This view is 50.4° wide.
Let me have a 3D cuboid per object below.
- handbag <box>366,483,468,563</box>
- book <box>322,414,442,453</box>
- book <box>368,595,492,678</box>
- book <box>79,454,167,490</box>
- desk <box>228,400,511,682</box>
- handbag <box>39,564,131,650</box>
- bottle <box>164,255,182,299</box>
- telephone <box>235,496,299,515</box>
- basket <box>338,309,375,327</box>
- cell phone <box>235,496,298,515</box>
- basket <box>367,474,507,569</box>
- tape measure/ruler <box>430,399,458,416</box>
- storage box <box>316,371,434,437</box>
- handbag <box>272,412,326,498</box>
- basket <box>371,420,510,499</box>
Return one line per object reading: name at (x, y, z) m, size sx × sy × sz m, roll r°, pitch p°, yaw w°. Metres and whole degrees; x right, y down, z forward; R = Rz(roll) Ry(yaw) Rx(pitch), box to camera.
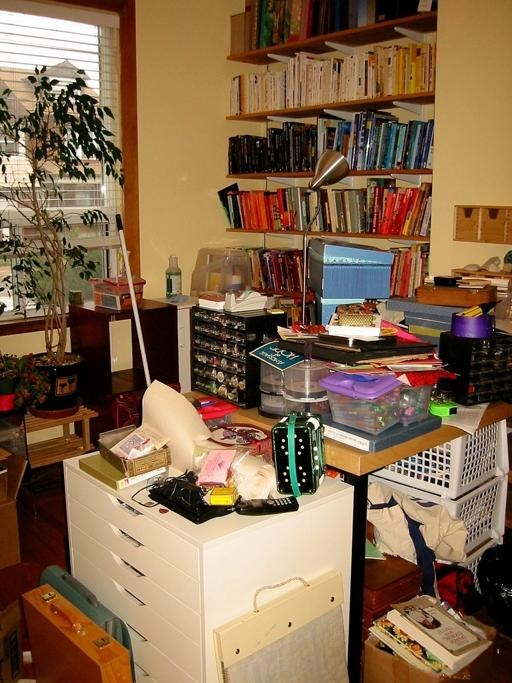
handbag at (0.464, 0.528, 1.552) m, size 0.269 × 0.203 × 0.081 m, roll 19°, pitch 14°, yaw 7°
book at (0.308, 0.218, 1.293) m, size 0.136 × 0.023 × 0.128 m, roll 11°, pitch 20°, yaw 37°
book at (0.413, 0.691, 1.288) m, size 0.149 × 0.043 × 0.154 m, roll 18°, pitch 23°, yaw 42°
book at (-0.282, 0.281, 1.173) m, size 0.075 × 0.019 × 0.106 m, roll -9°, pitch 14°, yaw -44°
desk at (0.305, 0.349, 1.696) m, size 0.658 × 0.777 × 0.872 m, roll 16°, pitch 22°, yaw 39°
handbag at (-0.372, 0.587, 1.192) m, size 0.076 × 0.164 × 0.224 m, roll -23°, pitch 32°, yaw -39°
bottle at (-0.559, -0.435, 3.661) m, size 0.086 × 0.272 × 0.255 m, roll -2°, pitch 12°, yaw -5°
telephone at (0.025, 0.299, 1.023) m, size 0.090 × 0.017 × 0.043 m, roll -2°, pitch 5°, yaw -8°
basket at (0.251, -0.056, 1.358) m, size 0.095 × 0.033 × 0.068 m, roll 2°, pitch 12°, yaw 12°
cell phone at (0.025, 0.300, 1.023) m, size 0.090 × 0.017 × 0.043 m, roll -2°, pitch 5°, yaw -9°
basket at (0.561, 0.527, 1.663) m, size 0.343 × 0.197 × 0.345 m, roll 6°, pitch 11°, yaw 35°
tape measure/ruler at (0.506, 0.170, 1.441) m, size 0.043 × 0.019 × 0.054 m, roll -6°, pitch 12°, yaw -30°
storage box at (0.293, 0.125, 1.323) m, size 0.186 × 0.079 × 0.173 m, roll -5°, pitch 8°, yaw -44°
handbag at (0.086, 0.229, 1.079) m, size 0.107 × 0.172 × 0.076 m, roll -1°, pitch 12°, yaw -1°
basket at (0.606, 0.313, 1.641) m, size 0.272 × 0.160 × 0.264 m, roll -16°, pitch 12°, yaw -28°
